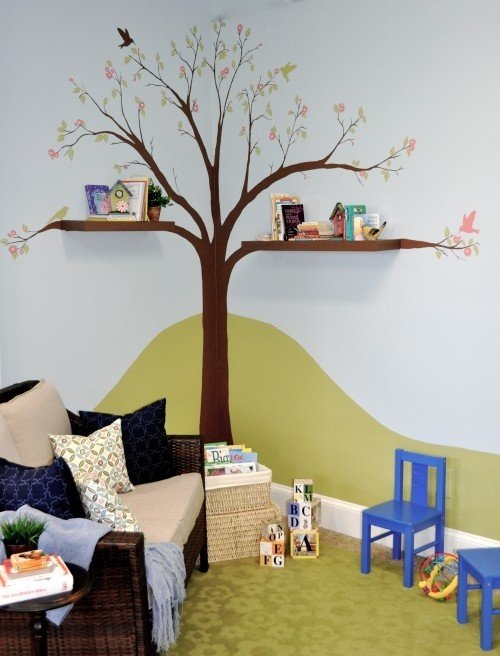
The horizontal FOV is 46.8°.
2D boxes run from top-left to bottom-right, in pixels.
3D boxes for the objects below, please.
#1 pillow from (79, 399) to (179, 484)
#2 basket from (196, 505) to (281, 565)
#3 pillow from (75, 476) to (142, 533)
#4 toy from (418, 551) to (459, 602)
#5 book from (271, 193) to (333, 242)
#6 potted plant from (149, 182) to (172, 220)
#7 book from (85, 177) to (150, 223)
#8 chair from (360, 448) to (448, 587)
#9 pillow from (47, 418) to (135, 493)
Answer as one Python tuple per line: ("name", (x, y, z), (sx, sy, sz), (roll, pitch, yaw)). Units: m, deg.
("pillow", (-0.540, 0.502, 2.542), (0.324, 0.300, 0.118), (-7, -10, -38))
("basket", (-0.044, 1.020, 2.949), (0.291, 0.184, 0.288), (-5, -6, -3))
("pillow", (-0.429, 0.535, 1.733), (0.069, 0.145, 0.230), (-36, -52, 20))
("toy", (0.838, 1.098, 2.563), (0.175, 0.184, 0.192), (0, -1, 3))
("book", (0.290, -0.576, 3.177), (0.299, 0.369, 0.266), (1, 3, 28))
("potted plant", (-0.525, -0.727, 3.304), (0.119, 0.242, 0.195), (0, 1, -10))
("book", (-0.714, -0.693, 3.123), (0.330, 0.236, 0.158), (0, 1, -14))
("chair", (0.743, 0.892, 2.786), (0.323, 0.554, 0.401), (1, 1, 44))
("pillow", (-0.596, 0.478, 2.167), (0.119, 0.277, 0.315), (-22, -10, 29))
